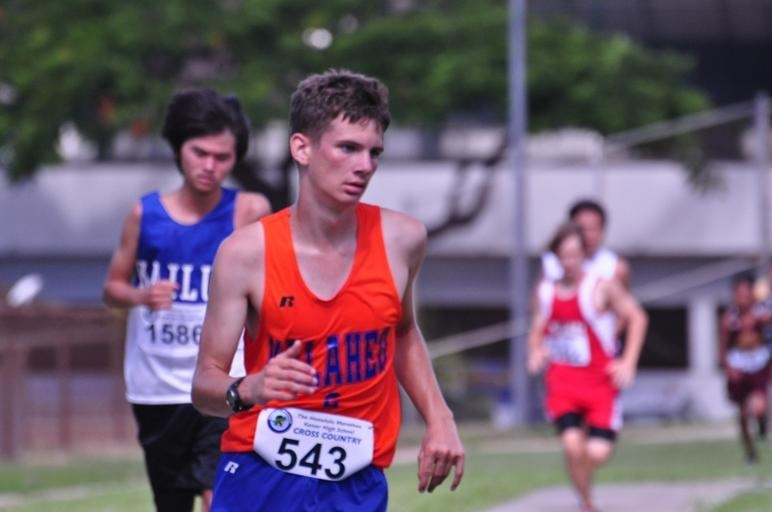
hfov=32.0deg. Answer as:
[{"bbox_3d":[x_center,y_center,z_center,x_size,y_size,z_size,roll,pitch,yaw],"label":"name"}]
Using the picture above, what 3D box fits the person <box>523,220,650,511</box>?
[{"bbox_3d":[1.460,0.754,9.582,0.643,2.026,0.742,-1,-3,-20],"label":"person"}]
